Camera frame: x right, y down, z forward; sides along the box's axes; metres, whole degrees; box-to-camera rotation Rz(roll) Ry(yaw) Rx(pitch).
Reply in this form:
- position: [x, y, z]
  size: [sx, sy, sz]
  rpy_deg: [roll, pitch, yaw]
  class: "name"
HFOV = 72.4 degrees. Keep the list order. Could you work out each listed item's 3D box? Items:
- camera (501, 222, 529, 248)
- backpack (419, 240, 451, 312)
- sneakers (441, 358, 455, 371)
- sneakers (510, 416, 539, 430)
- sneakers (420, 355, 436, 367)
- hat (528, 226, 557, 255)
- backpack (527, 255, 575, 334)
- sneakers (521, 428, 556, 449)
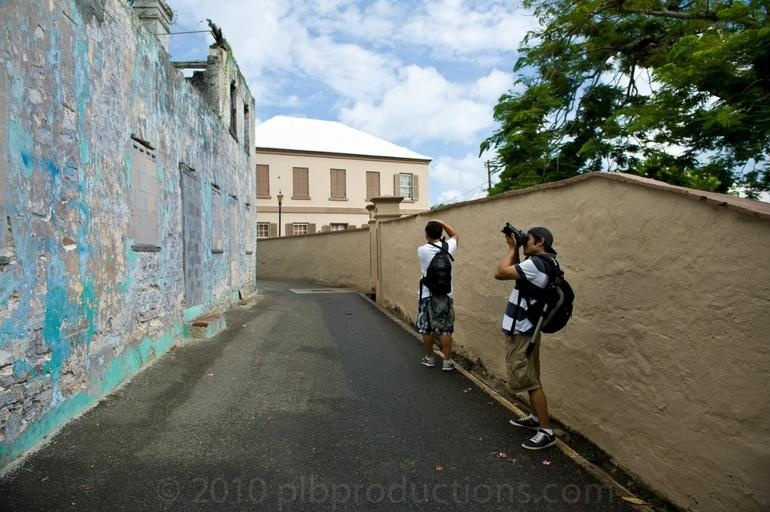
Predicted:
- position: [1.471, -0.259, 5.841]
  size: [0.138, 0.213, 0.332]
  rpy_deg: [-27, 51, -31]
  class: "camera"
- position: [0.800, 0.158, 7.770]
  size: [0.470, 0.757, 0.761]
  rpy_deg: [-3, 7, -1]
  class: "backpack"
- position: [0.934, 1.615, 7.798]
  size: [0.092, 0.136, 0.286]
  rpy_deg: [-1, -5, 20]
  class: "sneakers"
- position: [1.575, 1.891, 5.940]
  size: [0.315, 0.136, 0.116]
  rpy_deg: [2, -3, 18]
  class: "sneakers"
- position: [0.651, 1.598, 7.984]
  size: [0.104, 0.131, 0.233]
  rpy_deg: [1, 0, -28]
  class: "sneakers"
- position: [1.723, -0.171, 5.680]
  size: [0.328, 0.184, 0.236]
  rpy_deg: [34, 1, -12]
  class: "hat"
- position: [1.781, 0.440, 5.583]
  size: [0.421, 0.811, 0.576]
  rpy_deg: [15, 14, 25]
  class: "backpack"
- position: [1.634, 1.948, 5.618]
  size: [0.412, 0.183, 0.158]
  rpy_deg: [1, -6, -20]
  class: "sneakers"
